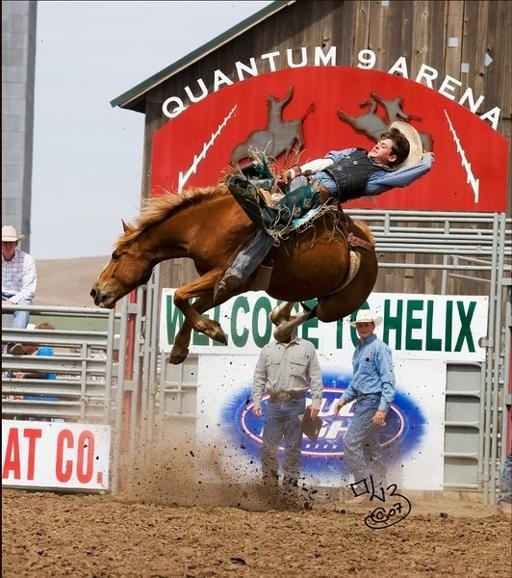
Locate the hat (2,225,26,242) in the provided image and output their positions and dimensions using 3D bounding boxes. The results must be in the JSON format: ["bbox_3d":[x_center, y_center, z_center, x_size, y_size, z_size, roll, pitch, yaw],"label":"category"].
[{"bbox_3d":[-2.695,-0.595,15.056,0.215,0.102,0.259,-5,3,-7],"label":"hat"}]

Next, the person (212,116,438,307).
[{"bbox_3d":[0.521,-0.634,11.170,1.745,1.444,0.412,-1,9,-14],"label":"person"}]

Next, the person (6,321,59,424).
[{"bbox_3d":[-2.317,0.912,14.345,0.475,1.159,1.257,-1,9,-10],"label":"person"}]
